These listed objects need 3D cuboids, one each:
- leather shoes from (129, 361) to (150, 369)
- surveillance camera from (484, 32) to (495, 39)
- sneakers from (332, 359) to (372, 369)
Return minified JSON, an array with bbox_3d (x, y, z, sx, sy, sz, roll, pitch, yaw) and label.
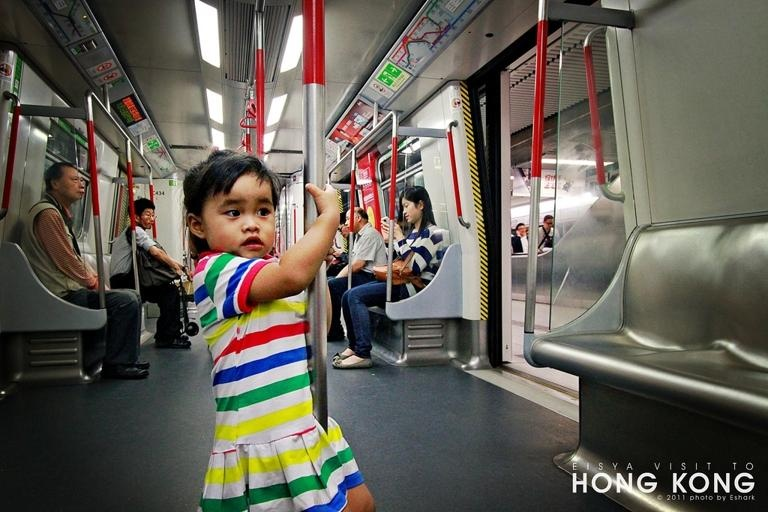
[{"bbox_3d":[-2.536,1.136,4.830,0.094,0.106,0.255,-1,-11,20],"label":"leather shoes"},{"bbox_3d":[0.982,-2.042,4.276,0.076,0.021,0.099,1,5,12],"label":"surveillance camera"},{"bbox_3d":[-0.346,1.146,5.005,0.405,0.127,0.142,4,-11,-12],"label":"sneakers"}]
